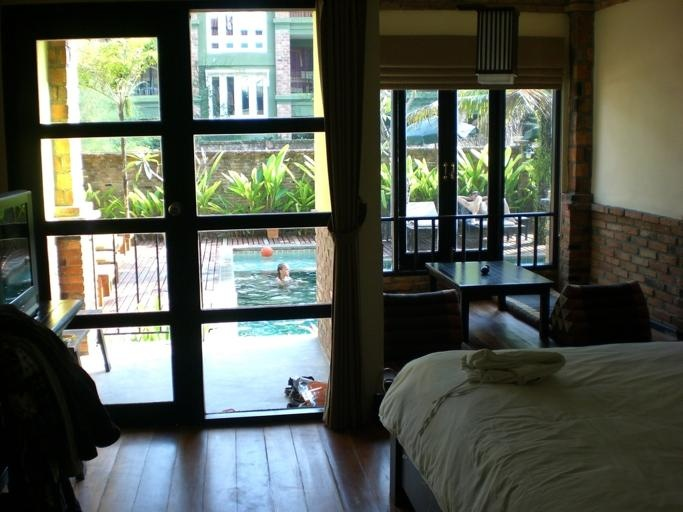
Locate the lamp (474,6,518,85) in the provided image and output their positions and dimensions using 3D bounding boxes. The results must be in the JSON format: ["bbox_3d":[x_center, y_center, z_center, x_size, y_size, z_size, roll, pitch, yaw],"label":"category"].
[{"bbox_3d":[1.119,-1.550,3.870,0.292,0.578,0.485,2,12,16],"label":"lamp"}]

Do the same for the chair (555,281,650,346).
[{"bbox_3d":[1.845,0.399,3.822,0.581,0.488,0.446,-2,2,2],"label":"chair"}]

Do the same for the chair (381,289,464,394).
[{"bbox_3d":[0.426,0.539,3.569,0.497,0.763,0.609,-1,1,-4],"label":"chair"}]

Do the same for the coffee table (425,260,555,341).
[{"bbox_3d":[1.265,0.217,4.477,0.635,0.414,1.003,-4,12,-9],"label":"coffee table"}]

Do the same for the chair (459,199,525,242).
[{"bbox_3d":[1.604,-0.455,5.803,0.534,0.539,0.470,-1,4,-15],"label":"chair"}]
